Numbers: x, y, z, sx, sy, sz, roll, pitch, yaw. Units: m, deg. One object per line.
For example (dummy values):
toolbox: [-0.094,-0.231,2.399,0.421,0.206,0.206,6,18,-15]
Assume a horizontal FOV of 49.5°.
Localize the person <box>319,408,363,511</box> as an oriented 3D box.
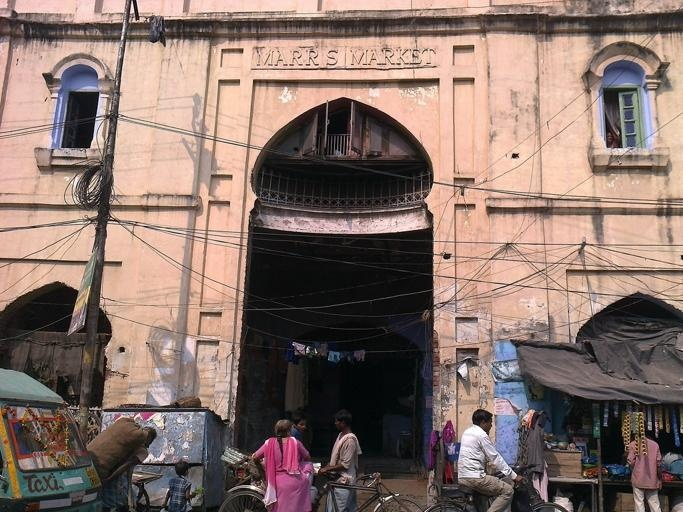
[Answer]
person: [0.012,3.520,12.848,0.626,1.710,0.601,-1,-14,2]
